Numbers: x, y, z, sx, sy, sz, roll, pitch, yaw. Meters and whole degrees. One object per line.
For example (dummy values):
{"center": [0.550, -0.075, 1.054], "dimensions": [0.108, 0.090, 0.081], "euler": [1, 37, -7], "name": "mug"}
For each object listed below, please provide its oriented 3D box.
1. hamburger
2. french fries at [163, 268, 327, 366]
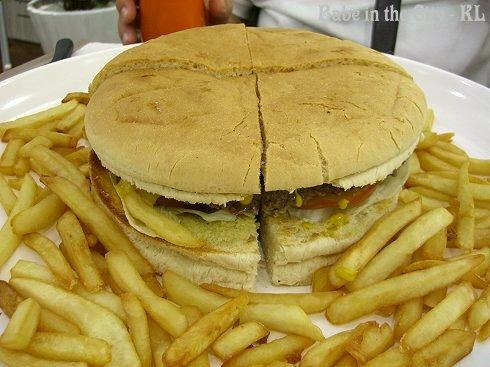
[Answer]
{"center": [0.046, -0.129, 3.571], "dimensions": [1.721, 0.795, 1.827], "euler": [0, 46, -3], "name": "hamburger"}
{"center": [-0.027, 0.693, 2.761], "dimensions": [0.844, 0.405, 0.656], "euler": [-5, 19, -14], "name": "french fries"}
